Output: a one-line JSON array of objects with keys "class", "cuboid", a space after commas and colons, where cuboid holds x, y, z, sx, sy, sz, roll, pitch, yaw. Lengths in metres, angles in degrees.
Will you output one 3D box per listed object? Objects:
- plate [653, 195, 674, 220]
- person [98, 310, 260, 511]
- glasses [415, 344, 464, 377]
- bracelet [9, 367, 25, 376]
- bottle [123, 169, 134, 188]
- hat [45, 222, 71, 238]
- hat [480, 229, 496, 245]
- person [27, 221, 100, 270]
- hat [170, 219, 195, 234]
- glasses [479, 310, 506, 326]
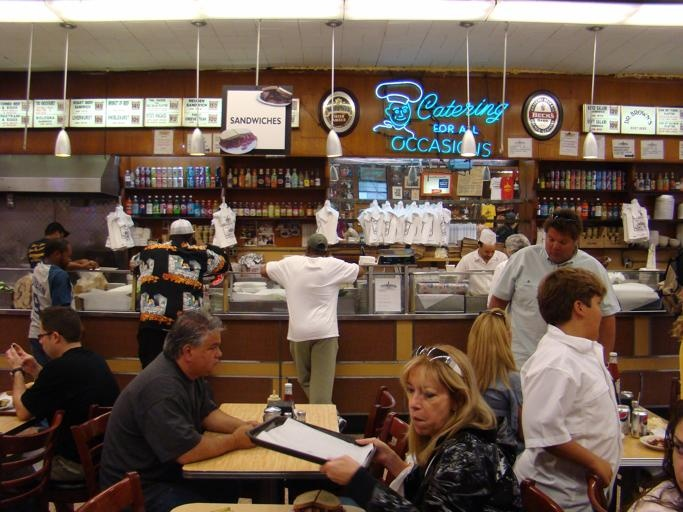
[{"class": "plate", "cuboid": [4.715, -0.716, 9.186, 0.288, 0.367, 0.208, 0, 0, 12]}, {"class": "person", "cuboid": [-0.979, 0.908, 3.766, 0.863, 1.129, 0.423, 1, 0, -21]}, {"class": "glasses", "cuboid": [0.507, 0.510, 3.208, 0.159, 0.048, 0.158, 33, -12, -21]}, {"class": "bracelet", "cuboid": [-2.223, 0.785, 4.309, 0.063, 0.029, 0.048, -9, 6, 20]}, {"class": "bottle", "cuboid": [-2.981, -1.079, 8.856, 0.122, 0.243, 0.212, 1, 0, -40]}, {"class": "hat", "cuboid": [-3.077, -0.275, 6.821, 0.190, 0.148, 0.257, 2, 5, 20]}, {"class": "hat", "cuboid": [1.641, -0.215, 7.167, 0.205, 0.158, 0.151, 15, 7, 25]}, {"class": "person", "cuboid": [-3.009, 0.060, 6.780, 0.517, 0.845, 0.539, -8, -7, 34]}, {"class": "hat", "cuboid": [-1.438, -0.257, 5.688, 0.179, 0.104, 0.168, 2, 8, 2]}, {"class": "glasses", "cuboid": [0.966, 0.402, 4.038, 0.124, 0.038, 0.127, 1, -22, -2]}]
